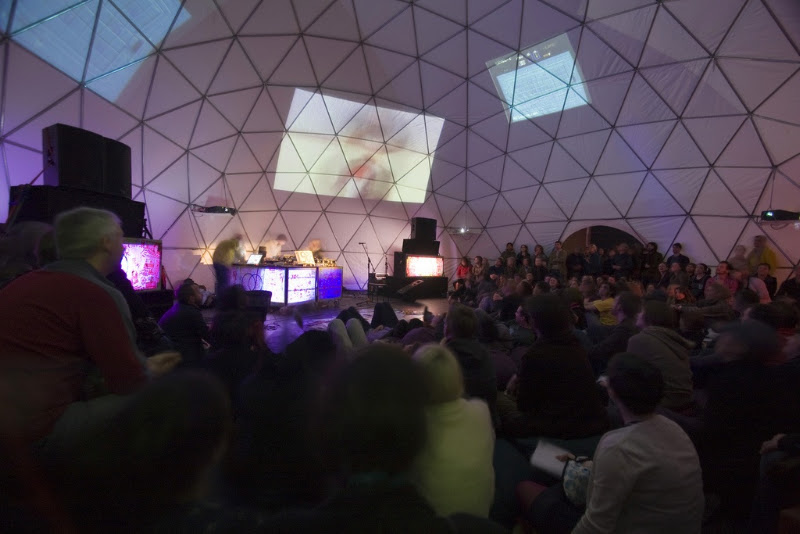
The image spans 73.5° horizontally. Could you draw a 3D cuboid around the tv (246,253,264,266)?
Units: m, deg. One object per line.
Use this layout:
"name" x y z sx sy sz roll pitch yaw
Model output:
"tv" -5.576 -0.282 20.461 0.612 0.513 0.589 2 -9 -6
